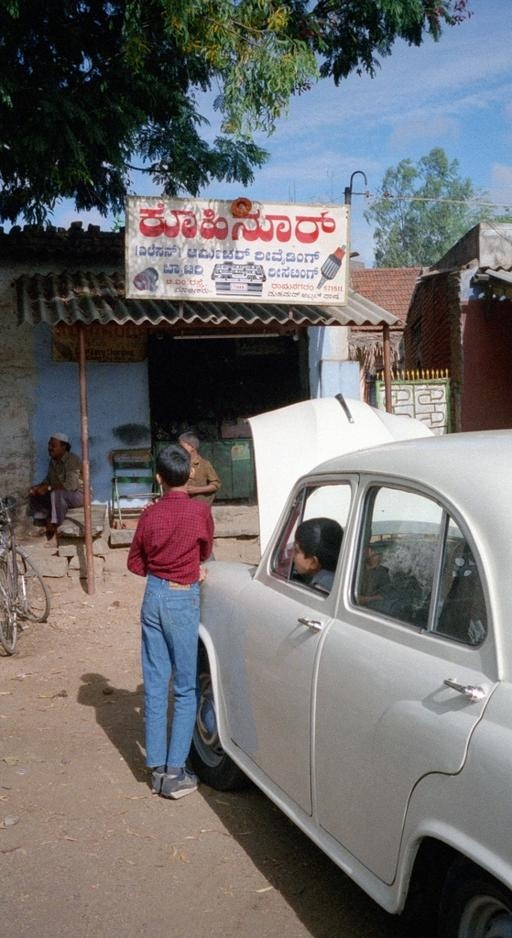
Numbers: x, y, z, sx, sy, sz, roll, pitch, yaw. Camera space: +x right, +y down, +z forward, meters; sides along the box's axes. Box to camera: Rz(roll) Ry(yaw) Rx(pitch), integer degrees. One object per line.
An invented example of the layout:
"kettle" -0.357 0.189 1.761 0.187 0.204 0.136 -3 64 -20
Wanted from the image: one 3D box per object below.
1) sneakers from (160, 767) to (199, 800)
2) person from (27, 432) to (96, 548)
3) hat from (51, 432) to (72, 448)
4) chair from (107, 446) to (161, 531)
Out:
"sneakers" -0.368 1.523 3.545 0.086 0.116 0.241 0 -2 33
"person" -2.446 0.140 8.997 0.571 1.147 0.998 0 0 -27
"hat" -2.445 -0.374 9.121 0.193 0.088 0.218 14 -13 47
"chair" -1.757 0.208 10.293 0.653 1.108 0.808 -4 14 -21
